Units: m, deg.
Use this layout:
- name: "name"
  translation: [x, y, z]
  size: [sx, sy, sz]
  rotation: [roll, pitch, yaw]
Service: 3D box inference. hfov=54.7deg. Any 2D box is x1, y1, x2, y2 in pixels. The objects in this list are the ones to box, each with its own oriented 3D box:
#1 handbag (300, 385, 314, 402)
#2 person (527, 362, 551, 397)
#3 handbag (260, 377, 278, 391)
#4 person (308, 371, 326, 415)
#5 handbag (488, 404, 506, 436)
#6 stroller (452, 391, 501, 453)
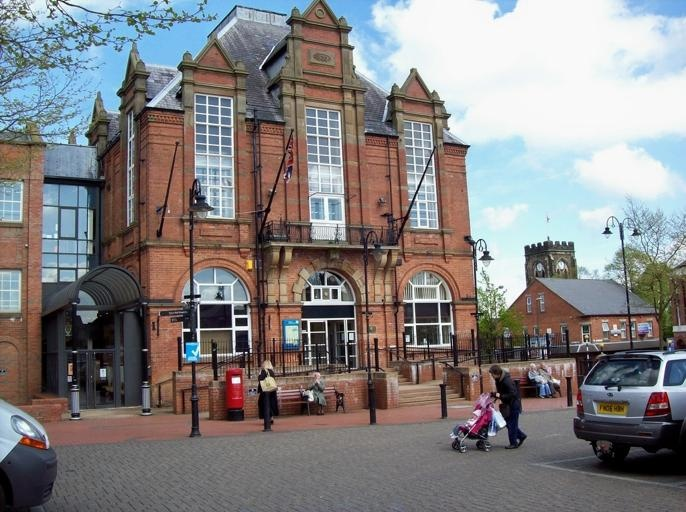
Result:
- name: "handbag"
  translation: [-1.282, 5.028, 23.924]
  size: [0.395, 0.216, 0.500]
  rotation: [6, 35, 6]
- name: "person"
  translation: [8.463, 5.393, 28.573]
  size: [0.968, 1.442, 0.485]
  rotation: [-1, -6, -6]
- name: "handbag"
  translation: [-2.324, 4.006, 20.569]
  size: [0.458, 0.454, 0.555]
  rotation: [1, -6, -24]
- name: "person"
  translation: [-0.976, 5.022, 24.117]
  size: [0.619, 1.527, 1.014]
  rotation: [-2, -6, -3]
- name: "handbag"
  translation: [3.521, 3.824, 15.180]
  size: [0.409, 0.626, 0.437]
  rotation: [-3, -6, 12]
- name: "stroller"
  translation: [3.304, 4.001, 15.535]
  size: [1.255, 1.576, 1.262]
  rotation: [-10, -25, 28]
